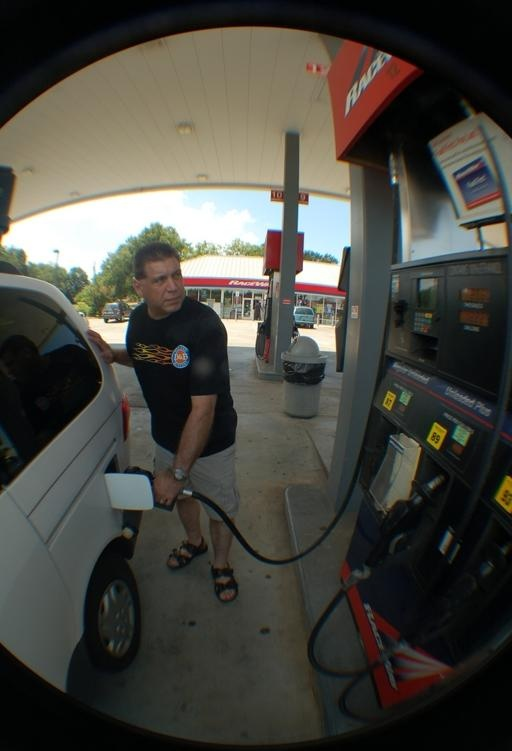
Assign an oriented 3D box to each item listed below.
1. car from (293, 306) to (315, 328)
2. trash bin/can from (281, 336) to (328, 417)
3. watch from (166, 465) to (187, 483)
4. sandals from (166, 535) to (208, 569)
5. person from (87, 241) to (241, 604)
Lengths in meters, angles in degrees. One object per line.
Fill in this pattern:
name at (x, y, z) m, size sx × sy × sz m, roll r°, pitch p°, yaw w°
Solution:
car at (2.594, -3.042, 20.933) m, size 0.956 × 1.133 × 1.638 m, roll 9°, pitch 11°, yaw 24°
trash bin/can at (0.584, 0.045, 4.874) m, size 0.532 × 1.011 × 0.464 m, roll 6°, pitch 10°, yaw 9°
watch at (-0.293, 0.369, 1.475) m, size 0.050 × 0.036 × 0.057 m, roll 29°, pitch -9°, yaw -11°
sandals at (-0.378, 0.964, 2.161) m, size 0.090 × 0.088 × 0.196 m, roll -6°, pitch -6°, yaw 30°
person at (-0.365, 0.266, 1.855) m, size 0.771 × 1.658 × 0.470 m, roll 13°, pitch 24°, yaw 42°
